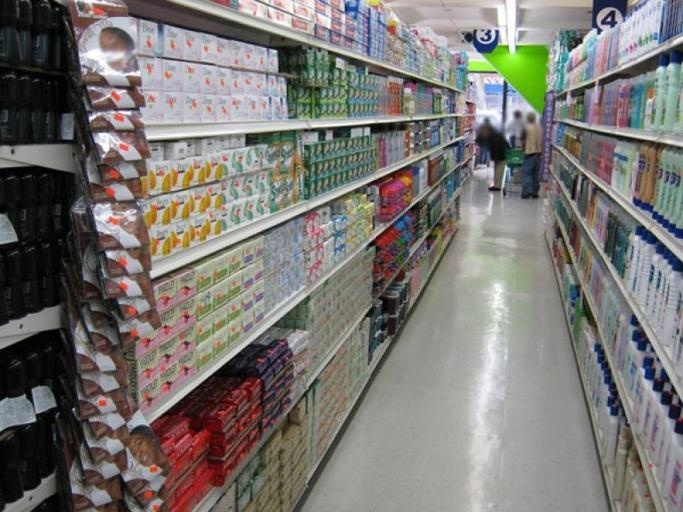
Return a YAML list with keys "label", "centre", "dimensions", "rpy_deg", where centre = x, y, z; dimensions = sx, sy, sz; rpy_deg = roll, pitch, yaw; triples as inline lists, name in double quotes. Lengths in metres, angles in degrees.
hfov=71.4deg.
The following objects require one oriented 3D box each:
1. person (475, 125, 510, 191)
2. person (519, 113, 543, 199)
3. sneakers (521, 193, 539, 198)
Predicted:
- label: "person"
  centre: [4.828, -3.188, 15.142]
  dimensions: [0.907, 2.127, 0.814]
  rpy_deg: [-1, 6, 17]
- label: "person"
  centre: [5.392, -2.900, 13.433]
  dimensions: [0.548, 2.446, 1.000]
  rpy_deg: [5, 10, 21]
- label: "sneakers"
  centre: [5.368, -1.746, 13.627]
  dimensions: [0.513, 0.243, 0.179]
  rpy_deg: [3, 4, 38]
